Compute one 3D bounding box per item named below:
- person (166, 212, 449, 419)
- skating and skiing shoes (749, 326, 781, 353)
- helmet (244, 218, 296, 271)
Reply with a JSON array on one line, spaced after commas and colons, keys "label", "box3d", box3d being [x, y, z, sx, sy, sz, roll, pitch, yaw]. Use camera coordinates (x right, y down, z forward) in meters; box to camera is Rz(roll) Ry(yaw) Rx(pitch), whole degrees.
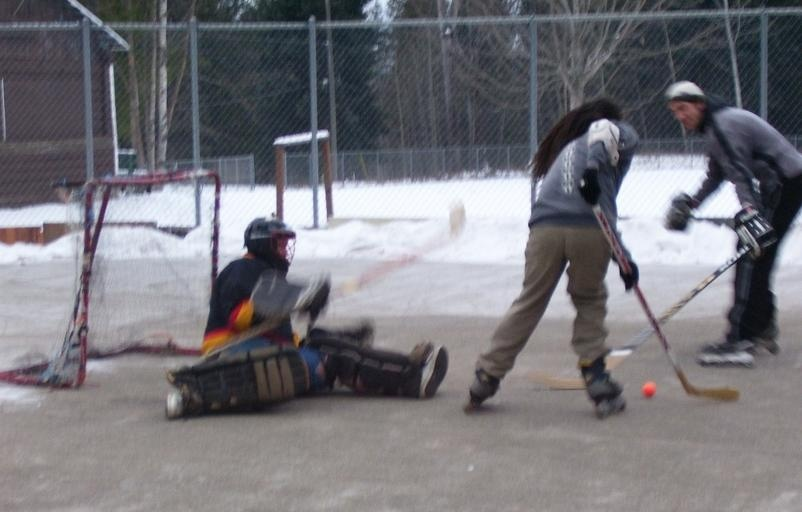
[{"label": "person", "box3d": [-0.911, 0.522, 9.404, 2.170, 1.625, 0.382, -1, 11, -8]}, {"label": "skating and skiing shoes", "box3d": [3.397, 0.789, 10.178, 0.280, 0.289, 0.181, -12, 8, -26]}, {"label": "helmet", "box3d": [-1.084, -0.105, 9.565, 0.427, 0.459, 0.378, -4, 2, 6]}]
